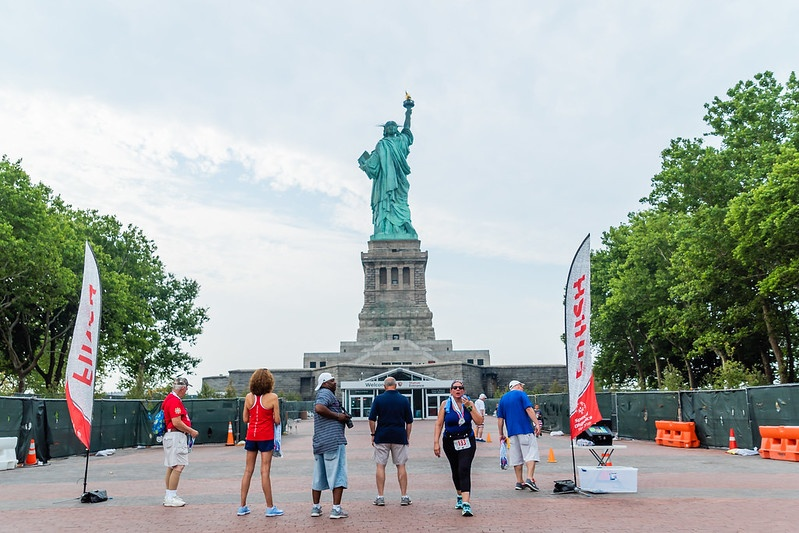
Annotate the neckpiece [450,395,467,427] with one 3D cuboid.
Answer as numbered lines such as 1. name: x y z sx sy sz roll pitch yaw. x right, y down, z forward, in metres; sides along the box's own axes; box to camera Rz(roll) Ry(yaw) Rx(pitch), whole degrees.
1. neckpiece: 1.590 3.903 18.401 0.463 0.693 0.165 5 -20 1

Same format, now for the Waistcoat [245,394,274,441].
1. Waistcoat: -3.687 4.066 18.509 0.779 1.198 0.642 -5 -6 13

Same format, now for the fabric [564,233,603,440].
1. fabric: 5.227 2.058 19.913 0.871 5.884 0.673 -2 -4 25

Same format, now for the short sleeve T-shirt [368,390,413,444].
1. short sleeve T-shirt: -0.219 4.102 18.677 1.083 1.474 0.451 0 -3 -3

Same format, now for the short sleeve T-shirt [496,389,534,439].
1. short sleeve T-shirt: 3.398 4.292 20.083 1.138 1.303 0.666 -22 -26 37

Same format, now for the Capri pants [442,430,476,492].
1. Capri pants: 1.585 5.289 18.359 0.894 1.543 0.731 -3 -4 33

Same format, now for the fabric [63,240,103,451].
1. fabric: -9.073 2.285 19.936 0.813 5.984 0.815 1 -4 -25
